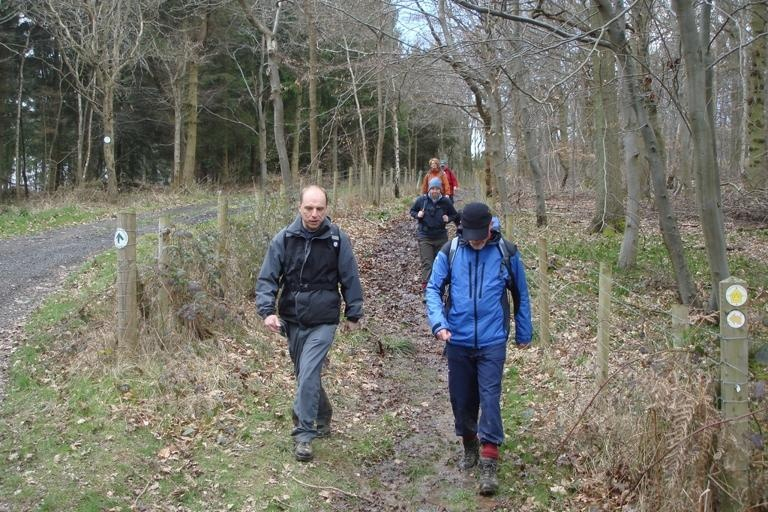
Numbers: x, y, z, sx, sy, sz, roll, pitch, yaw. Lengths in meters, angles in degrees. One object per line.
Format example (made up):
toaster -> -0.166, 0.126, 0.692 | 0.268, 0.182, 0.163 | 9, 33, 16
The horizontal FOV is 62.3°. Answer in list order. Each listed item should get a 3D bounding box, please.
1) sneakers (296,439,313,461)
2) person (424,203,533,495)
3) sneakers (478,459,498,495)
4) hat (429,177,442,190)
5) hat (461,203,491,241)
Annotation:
sneakers -> -1.066, 2.599, 8.549 | 0.131, 0.149, 0.321 | 3, 6, -2
person -> 1.228, 1.153, 8.251 | 1.280, 3.693, 0.707 | -1, 5, 12
sneakers -> 1.329, 2.800, 8.101 | 0.229, 0.469, 0.184 | -1, 5, 9
hat -> 1.066, -1.512, 13.235 | 0.176, 0.218, 0.256 | 2, 0, 0
hat -> 1.165, -0.501, 8.120 | 0.394, 0.330, 0.642 | 1, 34, 21
